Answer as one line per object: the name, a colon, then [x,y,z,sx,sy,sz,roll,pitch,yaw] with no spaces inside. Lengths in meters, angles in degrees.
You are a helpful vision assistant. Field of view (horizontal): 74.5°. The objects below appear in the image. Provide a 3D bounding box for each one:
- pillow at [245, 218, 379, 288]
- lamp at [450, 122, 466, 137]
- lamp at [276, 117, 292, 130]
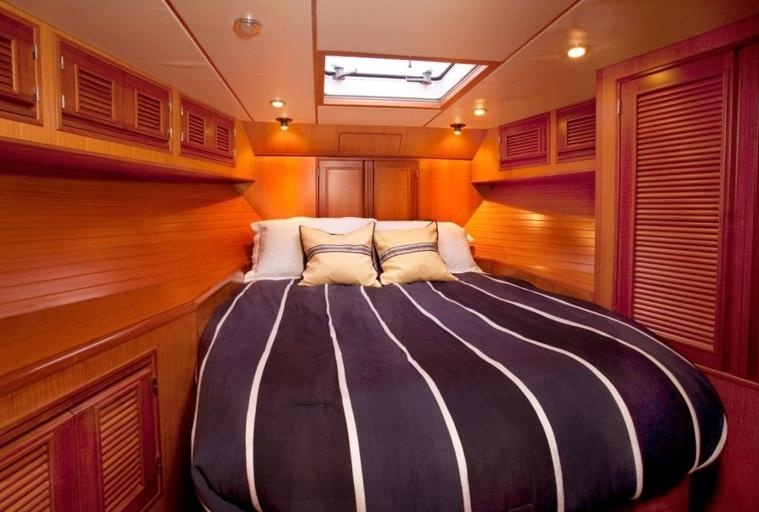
pillow: [-0.770,-0.095,3.919,0.945,0.520,0.250,0,-23,-27]
lamp: [0.707,-1.166,4.554,0.086,0.086,0.086,-5,-11,40]
lamp: [-0.833,-1.144,4.312,0.086,0.064,0.086,-2,3,-15]
